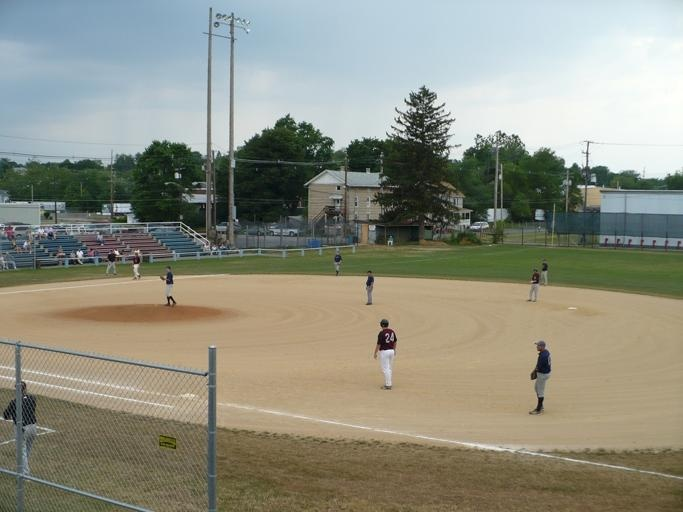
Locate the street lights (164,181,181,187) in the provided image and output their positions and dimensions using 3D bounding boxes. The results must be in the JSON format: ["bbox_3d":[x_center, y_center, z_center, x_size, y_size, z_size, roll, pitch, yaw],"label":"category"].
[{"bbox_3d":[-18.742,-7.922,118.376,0.927,0.278,0.923,4,-15,3],"label":"street lights"}]

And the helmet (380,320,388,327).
[{"bbox_3d":[1.433,2.290,35.397,0.228,0.271,0.268,0,10,-11],"label":"helmet"}]

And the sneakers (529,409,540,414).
[{"bbox_3d":[6.003,4.887,33.360,0.308,0.121,0.269,3,11,5],"label":"sneakers"}]
